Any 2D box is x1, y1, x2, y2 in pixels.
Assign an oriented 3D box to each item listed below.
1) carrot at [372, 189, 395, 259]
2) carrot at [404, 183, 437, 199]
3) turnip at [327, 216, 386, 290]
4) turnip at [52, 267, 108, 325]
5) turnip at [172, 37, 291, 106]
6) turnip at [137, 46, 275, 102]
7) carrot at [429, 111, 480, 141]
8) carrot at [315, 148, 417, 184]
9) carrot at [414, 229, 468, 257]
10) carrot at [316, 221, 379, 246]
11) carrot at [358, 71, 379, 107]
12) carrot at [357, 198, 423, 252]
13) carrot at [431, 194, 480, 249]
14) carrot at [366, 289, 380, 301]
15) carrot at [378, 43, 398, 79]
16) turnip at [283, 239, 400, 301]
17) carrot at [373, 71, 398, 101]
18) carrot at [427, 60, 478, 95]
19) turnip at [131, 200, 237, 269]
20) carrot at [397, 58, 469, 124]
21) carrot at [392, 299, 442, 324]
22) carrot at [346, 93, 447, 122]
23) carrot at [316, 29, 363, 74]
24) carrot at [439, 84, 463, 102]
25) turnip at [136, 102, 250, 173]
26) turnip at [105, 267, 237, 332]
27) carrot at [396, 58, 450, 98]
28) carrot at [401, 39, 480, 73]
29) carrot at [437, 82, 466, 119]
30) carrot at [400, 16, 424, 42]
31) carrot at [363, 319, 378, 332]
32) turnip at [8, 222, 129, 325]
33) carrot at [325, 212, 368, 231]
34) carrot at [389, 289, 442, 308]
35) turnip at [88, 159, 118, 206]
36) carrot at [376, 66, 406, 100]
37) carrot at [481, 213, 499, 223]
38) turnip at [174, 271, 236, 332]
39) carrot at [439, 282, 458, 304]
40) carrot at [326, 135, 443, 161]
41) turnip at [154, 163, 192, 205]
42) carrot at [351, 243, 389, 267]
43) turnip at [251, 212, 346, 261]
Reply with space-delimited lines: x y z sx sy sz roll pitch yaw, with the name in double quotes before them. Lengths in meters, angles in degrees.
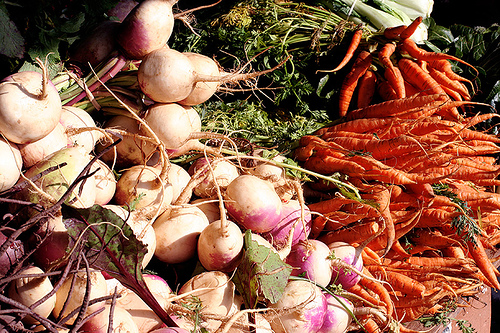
"carrot" 0.644 0.283 2.175 0.095 0.348 0.093 -6 -5 3
"carrot" 0.873 0.115 2.287 0.176 0.056 0.054 11 -20 49
"turnip" 0.515 0.422 2.190 0.169 0.381 0.177 48 -9 -11
"turnip" -0.640 0.485 1.646 0.157 0.192 0.159 15 -23 52
"turnip" -0.072 -0.423 2.106 0.574 0.184 0.269 -3 -4 11
"turnip" -0.200 -0.394 1.966 0.543 0.208 0.219 1 7 -3
"carrot" 1.098 -0.232 2.373 0.134 0.211 0.182 39 38 21
"carrot" 0.610 0.004 2.293 0.380 0.074 0.058 20 9 7
"carrot" 1.043 0.413 2.432 0.081 0.091 0.347 -19 6 -16
"carrot" 0.499 0.364 2.323 0.111 0.116 0.438 -9 -6 -40
"carrot" 0.733 -0.483 2.764 0.078 0.249 0.081 15 -3 -27
"carrot" 0.709 0.291 2.263 0.111 0.399 0.089 57 -2 -18
"carrot" 1.088 0.283 2.328 0.439 0.065 0.067 34 38 12
"carrot" 0.623 0.654 2.238 0.020 0.013 0.075 -2 28 -30
"carrot" 0.855 -0.646 2.715 0.076 0.064 0.229 -19 62 10
"turnip" 0.387 0.460 2.037 0.388 0.162 0.161 18 3 0
"carrot" 0.831 -0.495 2.723 0.058 0.061 0.197 26 33 -40
"carrot" 1.251 -0.608 2.824 0.481 0.115 0.103 13 43 -33
"turnip" -0.280 0.274 1.911 0.402 0.215 0.203 -13 76 -6
"carrot" 1.049 -0.438 2.571 0.095 0.097 0.570 -12 51 -43
"carrot" 0.889 0.779 2.374 0.256 0.078 0.065 -21 20 6
"carrot" 0.844 -0.331 2.497 0.073 0.489 0.075 52 37 -32
"carrot" 0.560 -0.740 2.790 0.069 0.369 0.089 31 -11 43
"carrot" 1.179 -0.433 2.586 0.044 0.031 0.171 -37 63 -11
"turnip" -0.253 -0.179 2.130 0.521 0.222 0.224 21 6 -13
"turnip" -0.324 0.561 1.818 0.481 0.206 0.225 1 70 -10
"carrot" 0.999 -0.592 2.751 0.118 0.132 0.514 -11 37 -18
"carrot" 1.128 -0.688 2.659 0.086 0.108 0.435 -19 39 -41
"carrot" 1.152 -0.385 2.535 0.047 0.042 0.289 -12 54 -35
"carrot" 0.985 -0.837 2.687 0.076 0.167 0.055 4 39 -26
"carrot" 0.602 0.797 2.197 0.046 0.033 0.059 4 49 6
"turnip" -0.676 0.402 1.784 0.208 0.191 0.513 40 69 17
"carrot" 0.469 0.274 2.282 0.272 0.073 0.073 -14 -4 16
"carrot" 0.860 0.697 2.386 0.306 0.105 0.085 0 -9 36
"turnip" -0.602 0.075 1.862 0.147 0.180 0.151 -7 -2 -5
"carrot" 0.855 -0.512 2.705 0.068 0.132 0.251 -5 46 -8
"carrot" 1.375 0.298 2.527 0.080 0.032 0.059 -19 -2 -18
"turnip" -0.186 0.549 1.879 0.129 0.229 0.236 38 36 -36
"carrot" 1.065 0.665 2.340 0.144 0.035 0.039 39 21 2
"carrot" 0.686 -0.127 2.360 0.086 0.115 0.751 -39 30 -25
"turnip" -0.334 0.072 2.058 0.177 0.217 0.181 -4 3 5
"carrot" 0.603 0.448 2.250 0.230 0.061 0.052 32 -14 -6
"turnip" 0.202 0.332 2.056 0.538 0.196 0.176 21 20 -50
